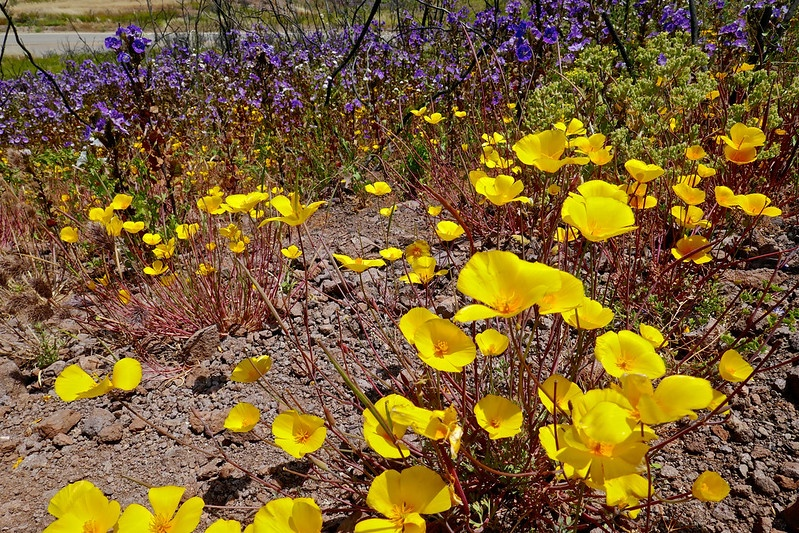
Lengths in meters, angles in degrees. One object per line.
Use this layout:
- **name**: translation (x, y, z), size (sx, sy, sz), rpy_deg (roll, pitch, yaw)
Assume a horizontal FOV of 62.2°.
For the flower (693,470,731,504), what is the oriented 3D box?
- **flower**: translation (1.568, 1.132, 3.371), size (0.164, 0.213, 0.114), rpy_deg (-3, 41, 2)
